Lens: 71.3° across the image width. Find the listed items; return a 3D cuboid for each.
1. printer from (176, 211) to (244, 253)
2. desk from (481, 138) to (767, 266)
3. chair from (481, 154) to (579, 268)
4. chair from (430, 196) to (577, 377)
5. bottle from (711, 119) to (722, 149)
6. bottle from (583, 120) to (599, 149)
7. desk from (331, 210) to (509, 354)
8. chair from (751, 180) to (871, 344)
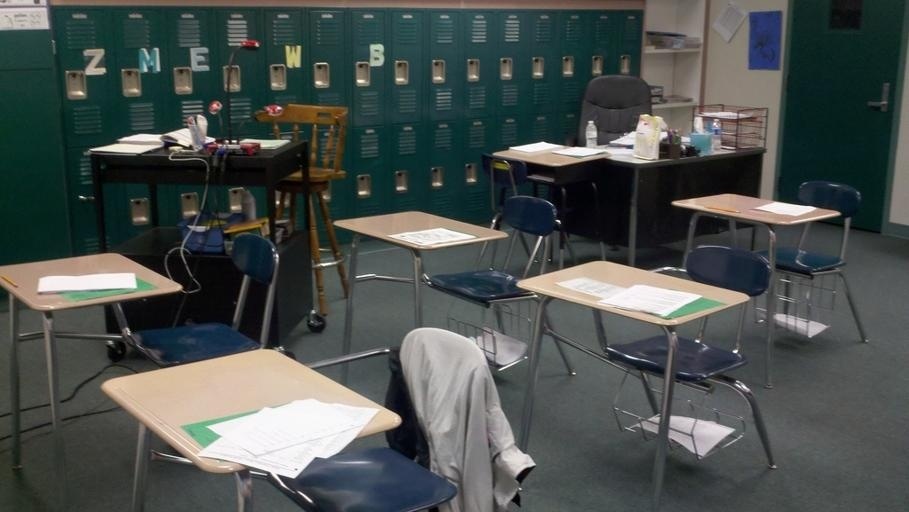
[{"bbox_3d":[-1.846,-0.222,4.957,0.496,0.200,0.487,1,20,7],"label":"printer"},{"bbox_3d":[2.414,-0.649,7.101,2.073,0.916,1.450,-6,8,20],"label":"desk"},{"bbox_3d":[0.663,-0.388,5.965,0.711,0.903,0.550,20,15,14],"label":"chair"},{"bbox_3d":[0.316,0.237,4.713,0.945,1.170,0.805,-13,19,-29],"label":"chair"},{"bbox_3d":[2.660,-1.239,6.467,0.108,0.292,0.247,5,20,21],"label":"bottle"},{"bbox_3d":[1.390,-1.239,6.445,0.088,0.254,0.375,2,18,15],"label":"bottle"},{"bbox_3d":[-0.284,0.235,4.985,1.099,0.972,0.789,17,20,42],"label":"desk"},{"bbox_3d":[2.863,0.055,5.317,0.865,1.217,0.787,-11,20,-19],"label":"chair"}]
